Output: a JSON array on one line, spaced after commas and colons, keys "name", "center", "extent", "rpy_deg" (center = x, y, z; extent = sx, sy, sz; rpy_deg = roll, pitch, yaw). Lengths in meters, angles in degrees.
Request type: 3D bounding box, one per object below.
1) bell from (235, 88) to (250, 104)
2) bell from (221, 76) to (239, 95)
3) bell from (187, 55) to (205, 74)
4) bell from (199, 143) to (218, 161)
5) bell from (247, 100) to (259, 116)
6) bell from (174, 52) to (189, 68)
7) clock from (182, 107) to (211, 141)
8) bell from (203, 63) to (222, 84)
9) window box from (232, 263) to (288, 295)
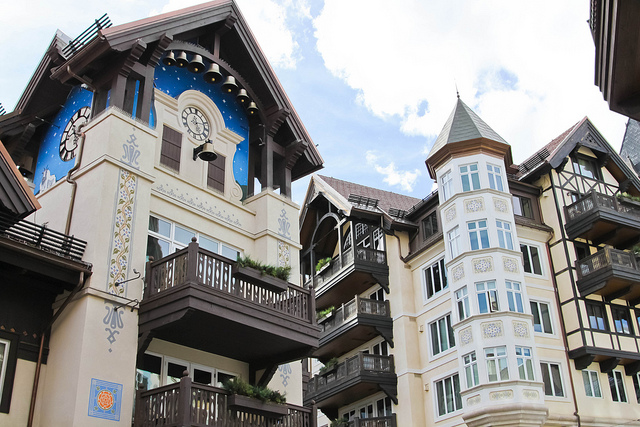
[{"name": "bell", "center": [-3.278, -4.861, 25.035], "extent": [0.510, 0.586, 0.534], "rpy_deg": [14, -43, -16]}, {"name": "bell", "center": [-3.732, -5.236, 24.611], "extent": [0.623, 0.714, 0.638], "rpy_deg": [18, -47, -17]}, {"name": "bell", "center": [-4.891, -5.790, 23.333], "extent": [0.621, 0.722, 0.647], "rpy_deg": [2, -42, 1]}, {"name": "bell", "center": [-4.326, -2.294, 22.978], "extent": [0.583, 0.654, 0.594], "rpy_deg": [30, -50, -35]}, {"name": "bell", "center": [-2.863, -4.502, 25.228], "extent": [0.429, 0.498, 0.458], "rpy_deg": [6, -45, -12]}, {"name": "bell", "center": [-5.413, -6.023, 23.143], "extent": [0.552, 0.513, 0.467], "rpy_deg": [10, -36, -12]}, {"name": "clock", "center": [-5.051, -3.563, 23.830], "extent": [0.084, 1.314, 1.270], "rpy_deg": [-29, -3, 35]}, {"name": "bell", "center": [-4.308, -5.465, 23.824], "extent": [0.680, 0.781, 0.694], "rpy_deg": [17, -42, -16]}, {"name": "window box", "center": [-2.138, 2.319, 20.725], "extent": [2.275, 0.529, 0.460], "rpy_deg": [30, -44, -33]}]
